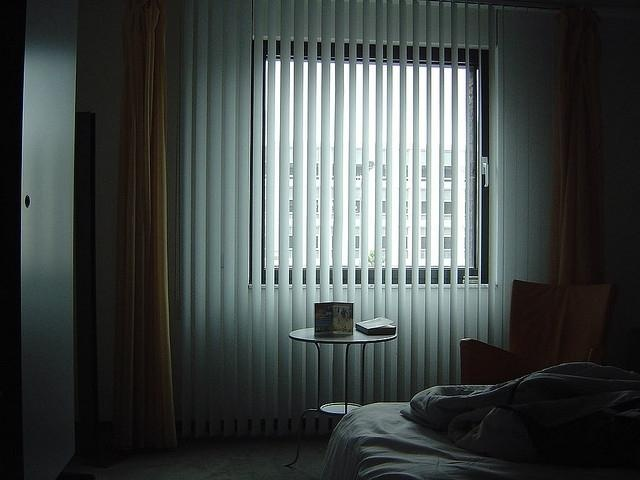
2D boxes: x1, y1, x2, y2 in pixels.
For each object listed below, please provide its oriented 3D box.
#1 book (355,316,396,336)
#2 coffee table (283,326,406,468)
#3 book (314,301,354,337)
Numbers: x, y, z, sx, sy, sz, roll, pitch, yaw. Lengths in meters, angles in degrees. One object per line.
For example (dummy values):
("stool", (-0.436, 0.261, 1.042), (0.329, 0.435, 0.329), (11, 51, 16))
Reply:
("book", (0.368, 0.568, 3.868), (0.259, 0.107, 0.217), (2, 1, 0))
("coffee table", (0.095, 1.060, 3.975), (0.642, 0.843, 0.671), (5, -12, -5))
("book", (0.083, 0.532, 3.908), (0.264, 0.259, 0.286), (8, -16, -8))
